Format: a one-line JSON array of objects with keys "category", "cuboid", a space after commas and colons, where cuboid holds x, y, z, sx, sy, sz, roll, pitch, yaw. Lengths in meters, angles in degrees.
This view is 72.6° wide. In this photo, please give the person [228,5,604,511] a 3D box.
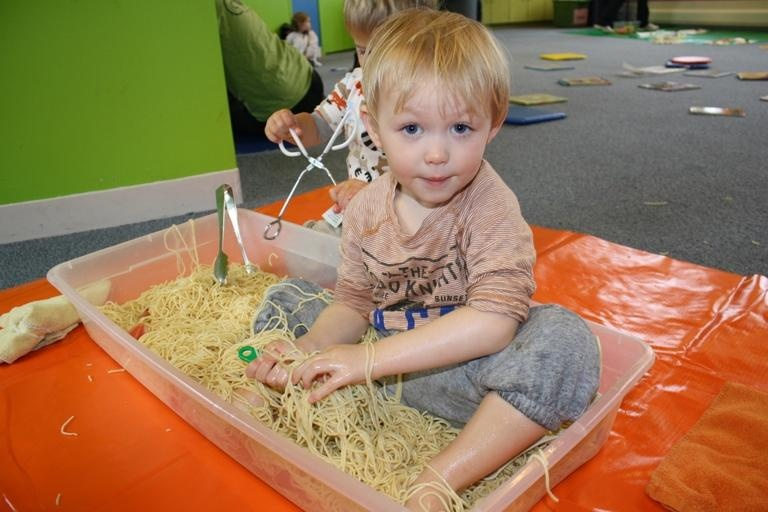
[{"category": "person", "cuboid": [0.076, -0.065, 1.424, 0.945, 1.102, 0.905, 12, 32, 38]}]

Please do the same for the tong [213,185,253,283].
[{"category": "tong", "cuboid": [-0.448, -0.056, 1.513, 0.135, 0.288, 0.039, -6, -1, -9]}]
